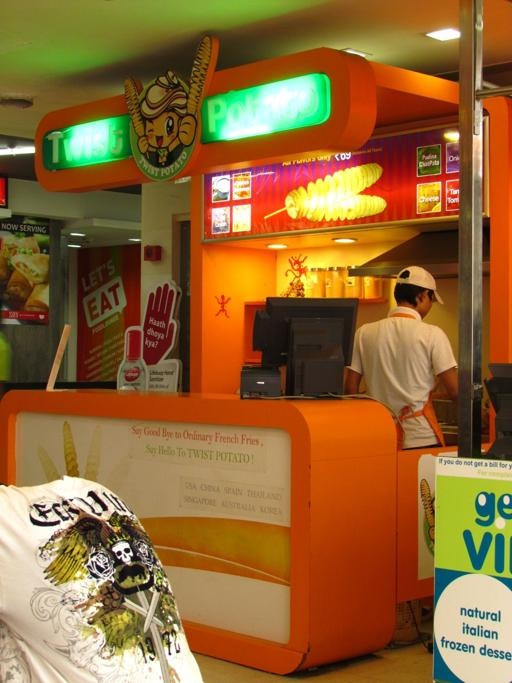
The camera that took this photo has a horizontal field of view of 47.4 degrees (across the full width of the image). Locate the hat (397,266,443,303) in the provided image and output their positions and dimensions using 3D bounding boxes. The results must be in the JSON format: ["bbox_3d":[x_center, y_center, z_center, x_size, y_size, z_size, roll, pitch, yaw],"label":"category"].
[{"bbox_3d":[1.098,-0.381,3.824,0.304,0.174,0.211,18,-4,-29],"label":"hat"}]

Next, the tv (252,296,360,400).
[{"bbox_3d":[0.302,0.040,3.227,0.584,0.602,0.317,2,2,-8],"label":"tv"}]
